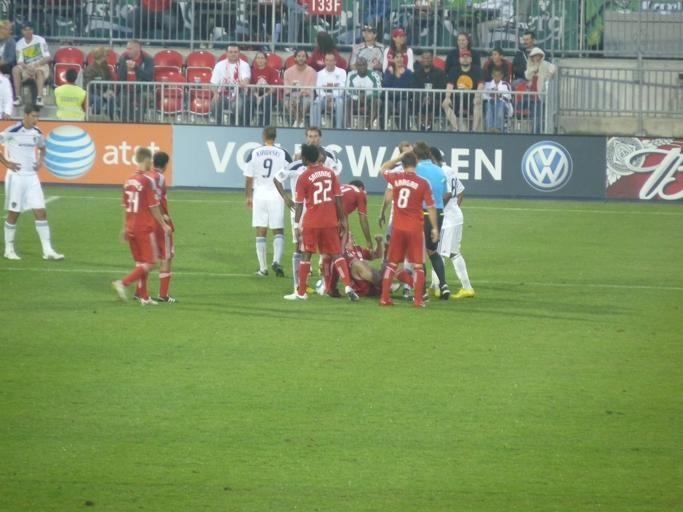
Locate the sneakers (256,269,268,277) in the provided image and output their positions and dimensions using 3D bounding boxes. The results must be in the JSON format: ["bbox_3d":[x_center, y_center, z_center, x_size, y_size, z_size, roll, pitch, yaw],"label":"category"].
[{"bbox_3d":[-1.407,0.298,23.560,0.251,0.110,0.150,12,17,35],"label":"sneakers"}]

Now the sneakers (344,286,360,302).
[{"bbox_3d":[0.164,0.620,21.509,0.114,0.150,0.335,-7,8,-32],"label":"sneakers"}]

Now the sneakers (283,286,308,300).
[{"bbox_3d":[-0.739,0.636,21.664,0.425,0.206,0.156,-2,2,40],"label":"sneakers"}]

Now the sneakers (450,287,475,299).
[{"bbox_3d":[1.979,0.638,22.247,0.434,0.201,0.158,-4,22,7],"label":"sneakers"}]

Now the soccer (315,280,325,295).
[{"bbox_3d":[-0.352,0.503,22.141,0.139,0.229,0.350,1,14,-5],"label":"soccer"}]

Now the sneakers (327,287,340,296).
[{"bbox_3d":[-0.121,0.616,21.955,0.266,0.124,0.094,9,13,1],"label":"sneakers"}]

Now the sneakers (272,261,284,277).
[{"bbox_3d":[-1.101,0.251,23.490,0.133,0.308,0.140,-8,15,15],"label":"sneakers"}]

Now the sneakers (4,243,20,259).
[{"bbox_3d":[-5.916,-0.052,23.977,0.382,0.281,0.181,5,6,37],"label":"sneakers"}]
